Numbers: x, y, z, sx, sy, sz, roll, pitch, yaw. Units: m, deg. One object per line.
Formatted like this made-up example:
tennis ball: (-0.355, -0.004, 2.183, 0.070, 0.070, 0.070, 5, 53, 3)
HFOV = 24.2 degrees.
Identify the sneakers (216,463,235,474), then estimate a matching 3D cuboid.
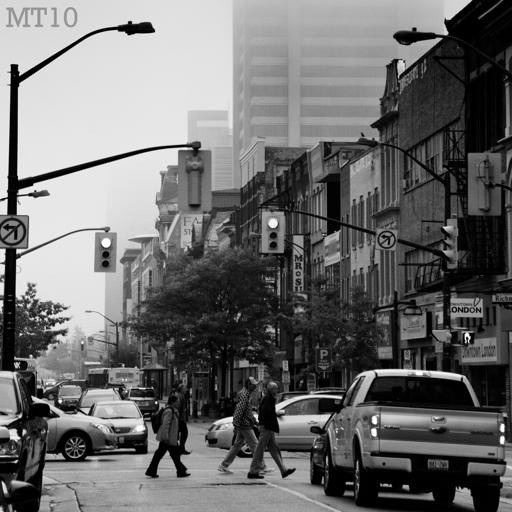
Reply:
sneakers: (-0.606, 4.291, 23.891, 0.124, 0.204, 0.411, 6, 3, 22)

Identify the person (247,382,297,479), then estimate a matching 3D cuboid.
person: (0.243, 3.246, 22.176, 0.761, 1.792, 0.547, 1, -6, 0)

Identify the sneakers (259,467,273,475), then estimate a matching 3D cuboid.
sneakers: (0.187, 4.216, 23.315, 0.263, 0.163, 0.096, -11, -11, 43)

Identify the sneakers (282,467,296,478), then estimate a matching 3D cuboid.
sneakers: (0.599, 4.051, 22.130, 0.218, 0.180, 0.568, 0, -9, 5)

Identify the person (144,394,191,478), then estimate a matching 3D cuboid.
person: (-1.667, 3.466, 22.996, 0.811, 1.624, 1.580, 1, -7, -3)

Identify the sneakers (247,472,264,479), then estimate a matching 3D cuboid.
sneakers: (-0.004, 4.085, 22.143, 0.323, 0.200, 0.126, -1, 2, -3)

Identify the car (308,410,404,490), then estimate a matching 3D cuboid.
car: (1.390, 3.288, 20.365, 0.978, 1.076, 1.798, 1, -5, -5)

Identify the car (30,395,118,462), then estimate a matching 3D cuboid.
car: (-4.231, 4.134, 28.754, 2.608, 1.453, 1.369, 0, 0, -5)

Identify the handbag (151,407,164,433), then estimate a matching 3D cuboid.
handbag: (-1.901, 3.183, 22.980, 0.119, 0.537, 0.329, 6, -2, -8)
